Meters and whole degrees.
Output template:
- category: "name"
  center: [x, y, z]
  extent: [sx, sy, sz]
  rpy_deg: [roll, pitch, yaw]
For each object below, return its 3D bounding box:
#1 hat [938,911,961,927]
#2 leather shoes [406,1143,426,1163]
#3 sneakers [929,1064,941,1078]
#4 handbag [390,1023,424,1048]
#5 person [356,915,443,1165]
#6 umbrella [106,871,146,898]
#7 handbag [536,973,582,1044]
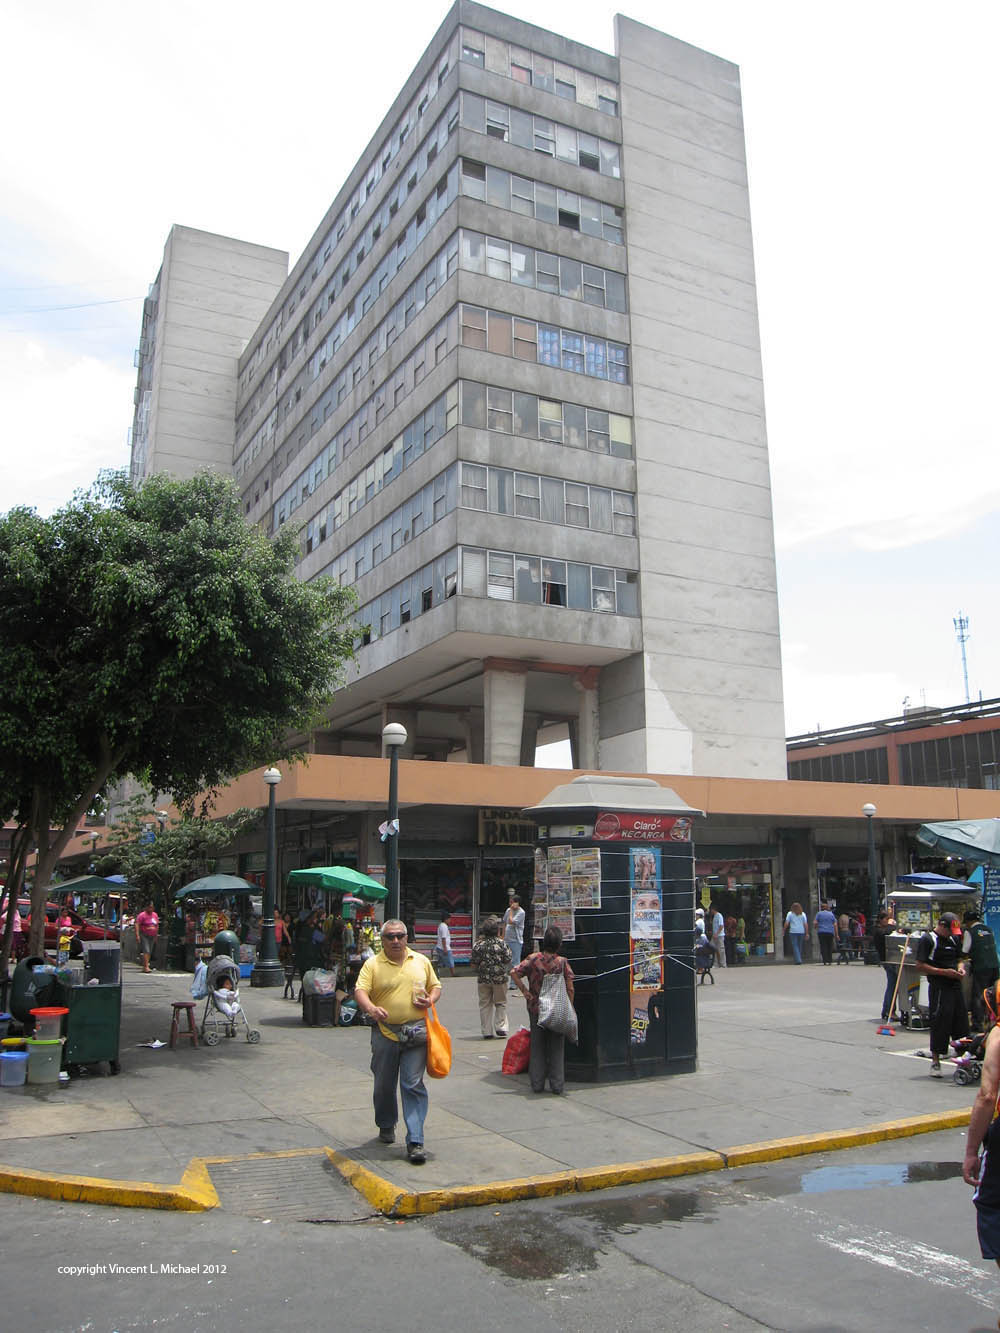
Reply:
- category: "hat"
  center: [4.719, 2.682, 11.916]
  extent: [0.171, 0.165, 0.157]
  rpy_deg: [-26, -5, 24]
- category: "leather shoes"
  center: [-0.536, 3.111, 7.225]
  extent: [0.135, 0.109, 0.204]
  rpy_deg: [1, -10, -4]
- category: "sneakers"
  center: [4.170, 3.888, 10.887]
  extent: [0.066, 0.122, 0.188]
  rpy_deg: [1, -6, 6]
- category: "handbag"
  center: [-0.601, 2.444, 7.497]
  extent: [0.172, 0.074, 0.126]
  rpy_deg: [-5, -6, 44]
- category: "person"
  center: [-0.712, 2.538, 7.803]
  extent: [0.567, 1.537, 1.296]
  rpy_deg: [1, -11, -5]
- category: "umbrella"
  center: [-10.205, 5.997, 31.037]
  extent: [1.321, 0.535, 1.682]
  rpy_deg: [8, -9, -33]
- category: "handbag"
  center: [0.496, 3.050, 10.079]
  extent: [0.574, 0.599, 0.247]
  rpy_deg: [26, -36, -28]
